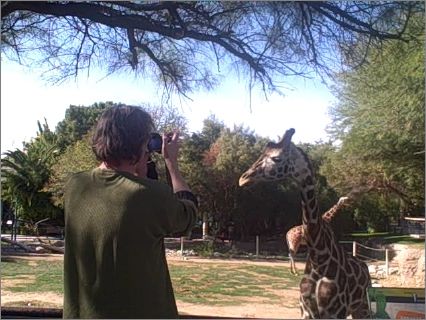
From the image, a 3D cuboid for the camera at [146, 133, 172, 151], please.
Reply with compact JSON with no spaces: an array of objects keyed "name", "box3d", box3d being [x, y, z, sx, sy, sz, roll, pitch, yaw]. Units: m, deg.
[{"name":"camera","box3d":[-0.428,-0.139,3.059,0.123,0.144,0.034,2,-5,-25]}]
